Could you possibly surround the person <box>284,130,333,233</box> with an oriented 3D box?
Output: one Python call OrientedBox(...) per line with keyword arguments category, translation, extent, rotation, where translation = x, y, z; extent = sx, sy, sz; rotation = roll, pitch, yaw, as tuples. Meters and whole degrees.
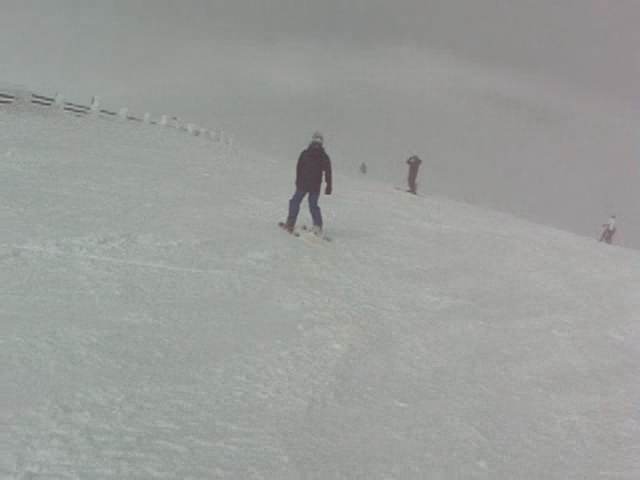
OrientedBox(category="person", translation=(-0.167, -1.087, 24.826), extent=(0.795, 1.427, 1.222), rotation=(11, 6, -2))
